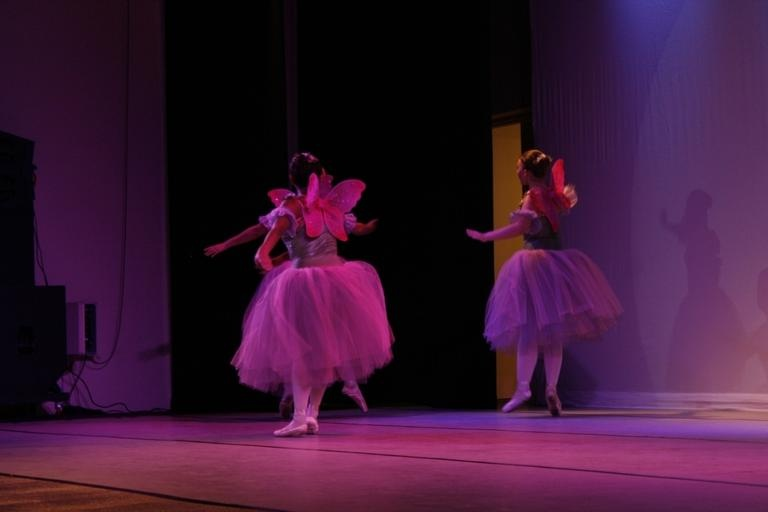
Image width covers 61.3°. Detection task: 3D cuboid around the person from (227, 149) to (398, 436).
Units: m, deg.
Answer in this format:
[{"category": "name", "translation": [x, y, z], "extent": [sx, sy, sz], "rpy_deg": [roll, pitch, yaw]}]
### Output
[{"category": "person", "translation": [-0.382, 0.167, 3.362], "extent": [0.818, 1.461, 0.503], "rpy_deg": [-3, -7, 0]}]

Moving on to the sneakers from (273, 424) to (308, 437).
[{"category": "sneakers", "translation": [-0.457, 0.848, 3.146], "extent": [0.122, 0.053, 0.072], "rpy_deg": [2, -7, 3]}]

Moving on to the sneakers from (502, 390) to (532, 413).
[{"category": "sneakers", "translation": [0.837, 0.925, 4.127], "extent": [0.168, 0.134, 0.372], "rpy_deg": [-5, -8, 10]}]

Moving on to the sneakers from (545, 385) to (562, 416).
[{"category": "sneakers", "translation": [0.996, 0.856, 3.825], "extent": [0.069, 0.222, 0.156], "rpy_deg": [-5, 29, 5]}]

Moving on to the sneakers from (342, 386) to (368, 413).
[{"category": "sneakers", "translation": [-0.185, 0.948, 4.255], "extent": [0.099, 0.254, 0.074], "rpy_deg": [-19, 19, 12]}]

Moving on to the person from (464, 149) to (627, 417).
[{"category": "person", "translation": [1.051, 0.154, 4.272], "extent": [0.964, 1.730, 1.056], "rpy_deg": [8, -16, -23]}]
